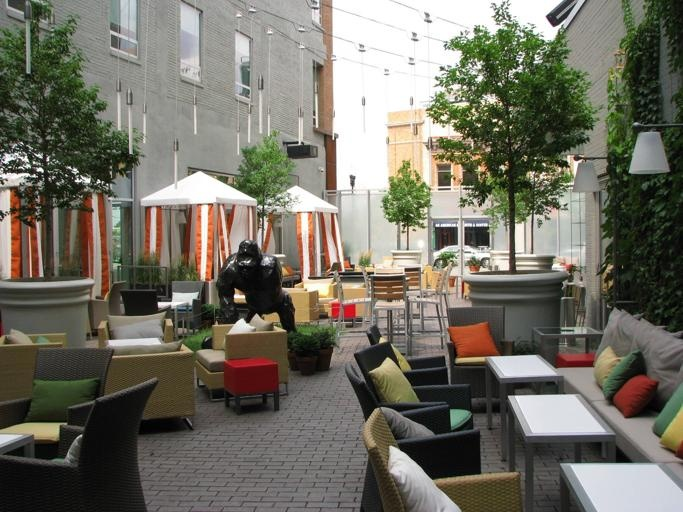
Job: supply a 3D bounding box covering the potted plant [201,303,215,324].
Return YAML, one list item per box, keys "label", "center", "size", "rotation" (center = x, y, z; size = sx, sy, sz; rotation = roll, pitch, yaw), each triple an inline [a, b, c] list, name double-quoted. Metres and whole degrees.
- label: "potted plant"
  center: [-2.964, 1.263, 12.821]
  size: [0.318, 0.369, 0.629]
  rotation: [5, -5, -5]

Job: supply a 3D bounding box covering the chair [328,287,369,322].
- label: "chair"
  center: [0.195, 1.062, 13.341]
  size: [0.741, 0.539, 0.803]
  rotation: [0, 1, 3]

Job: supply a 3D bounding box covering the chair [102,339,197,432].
- label: "chair"
  center: [-2.328, 1.415, 7.097]
  size: [0.960, 1.083, 1.061]
  rotation: [1, -1, -18]

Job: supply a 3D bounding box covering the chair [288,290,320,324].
- label: "chair"
  center: [-0.868, 1.124, 13.133]
  size: [0.528, 0.749, 0.625]
  rotation: [0, 6, 18]

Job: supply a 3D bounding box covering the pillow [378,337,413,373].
- label: "pillow"
  center: [0.599, 1.040, 6.203]
  size: [0.101, 0.373, 0.350]
  rotation: [-18, 3, 0]

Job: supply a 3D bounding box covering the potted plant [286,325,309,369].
- label: "potted plant"
  center: [-0.793, 1.546, 9.546]
  size: [0.469, 0.673, 0.505]
  rotation: [2, -7, -10]

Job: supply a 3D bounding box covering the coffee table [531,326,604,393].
- label: "coffee table"
  center: [2.848, 1.306, 7.545]
  size: [0.723, 0.802, 0.735]
  rotation: [-3, 11, -9]

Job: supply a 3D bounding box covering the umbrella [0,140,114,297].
- label: "umbrella"
  center: [-5.867, -0.404, 12.001]
  size: [2.142, 2.454, 2.126]
  rotation: [3, 3, 44]

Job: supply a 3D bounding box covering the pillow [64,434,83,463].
- label: "pillow"
  center: [-1.836, 1.330, 3.983]
  size: [0.061, 0.223, 0.216]
  rotation: [13, -19, -12]

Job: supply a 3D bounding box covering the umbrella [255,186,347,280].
- label: "umbrella"
  center: [-1.685, -0.839, 19.806]
  size: [2.789, 3.816, 3.086]
  rotation: [-1, -3, 2]

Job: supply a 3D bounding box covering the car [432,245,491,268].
- label: "car"
  center: [5.819, -0.027, 27.911]
  size: [2.652, 1.031, 1.218]
  rotation: [-2, 3, -7]

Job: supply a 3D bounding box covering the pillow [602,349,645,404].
- label: "pillow"
  center: [2.767, 1.189, 5.773]
  size: [0.134, 0.452, 0.472]
  rotation: [27, 42, 2]

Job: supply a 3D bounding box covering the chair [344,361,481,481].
- label: "chair"
  center: [0.565, 1.314, 4.605]
  size: [0.828, 1.097, 0.721]
  rotation: [-6, 3, -9]

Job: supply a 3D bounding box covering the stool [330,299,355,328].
- label: "stool"
  center: [0.010, 1.313, 13.348]
  size: [0.509, 0.578, 0.568]
  rotation: [0, 0, 0]

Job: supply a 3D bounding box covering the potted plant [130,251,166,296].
- label: "potted plant"
  center: [-4.663, 0.427, 13.978]
  size: [0.894, 0.993, 0.516]
  rotation: [1, 3, 11]

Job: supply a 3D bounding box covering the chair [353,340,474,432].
- label: "chair"
  center: [0.680, 1.288, 5.430]
  size: [1.005, 1.284, 0.837]
  rotation: [-6, 1, 12]

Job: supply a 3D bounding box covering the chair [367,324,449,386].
- label: "chair"
  center: [0.771, 1.114, 6.442]
  size: [0.674, 0.981, 0.647]
  rotation: [-2, 1, 6]

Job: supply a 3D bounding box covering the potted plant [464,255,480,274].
- label: "potted plant"
  center: [5.252, 0.316, 23.454]
  size: [0.628, 0.774, 0.715]
  rotation: [-2, -2, 13]

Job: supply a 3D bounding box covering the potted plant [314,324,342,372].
- label: "potted plant"
  center: [-0.179, 1.558, 9.829]
  size: [0.517, 0.656, 0.605]
  rotation: [0, -4, 5]

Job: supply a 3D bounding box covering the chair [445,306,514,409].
- label: "chair"
  center: [1.703, 1.199, 7.498]
  size: [0.884, 1.635, 1.085]
  rotation: [-1, -5, 3]

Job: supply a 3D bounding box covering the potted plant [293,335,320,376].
- label: "potted plant"
  center: [-0.562, 1.594, 9.410]
  size: [0.509, 0.628, 0.549]
  rotation: [-1, -4, 2]

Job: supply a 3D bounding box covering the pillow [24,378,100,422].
- label: "pillow"
  center: [-2.589, 1.342, 5.379]
  size: [0.508, 0.386, 0.191]
  rotation: [0, 1, 2]

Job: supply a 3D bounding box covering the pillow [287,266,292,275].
- label: "pillow"
  center: [-1.826, 0.488, 20.224]
  size: [0.173, 0.210, 0.346]
  rotation: [-5, -13, 5]

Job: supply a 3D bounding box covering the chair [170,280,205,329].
- label: "chair"
  center: [-3.243, 1.005, 12.270]
  size: [0.731, 1.200, 0.889]
  rotation: [0, -1, 3]

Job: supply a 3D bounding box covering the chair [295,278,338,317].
- label: "chair"
  center: [-0.619, 1.037, 14.877]
  size: [0.783, 0.984, 0.861]
  rotation: [-1, -5, 11]

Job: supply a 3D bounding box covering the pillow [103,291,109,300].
- label: "pillow"
  center: [-4.944, 0.815, 12.141]
  size: [0.115, 0.127, 0.124]
  rotation: [-1, -8, 10]

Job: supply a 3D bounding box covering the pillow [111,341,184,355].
- label: "pillow"
  center: [-2.277, 1.083, 6.770]
  size: [0.760, 0.181, 0.216]
  rotation: [-1, 7, -19]

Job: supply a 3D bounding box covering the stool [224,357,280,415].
- label: "stool"
  center: [-1.178, 1.643, 7.639]
  size: [0.607, 0.738, 0.676]
  rotation: [0, -4, -4]

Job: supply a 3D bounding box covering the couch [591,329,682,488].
- label: "couch"
  center: [2.796, 1.293, 5.563]
  size: [0.342, 0.782, 1.564]
  rotation: [-13, 23, 23]
